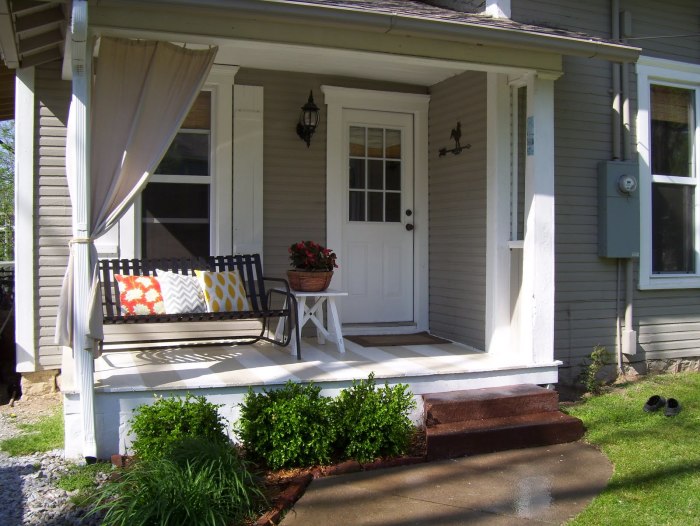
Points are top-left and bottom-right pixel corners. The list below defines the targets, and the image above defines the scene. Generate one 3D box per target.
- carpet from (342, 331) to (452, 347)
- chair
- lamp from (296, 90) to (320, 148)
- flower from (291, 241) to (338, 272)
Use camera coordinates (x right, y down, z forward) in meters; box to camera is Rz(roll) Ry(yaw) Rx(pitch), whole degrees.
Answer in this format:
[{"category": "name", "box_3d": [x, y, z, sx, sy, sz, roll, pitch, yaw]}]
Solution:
[{"category": "carpet", "box_3d": [0.515, 0.818, 6.447, 1.030, 0.073, 0.718, -2, 9, -13]}, {"category": "chair", "box_3d": [-1.521, 0.269, 5.517, 1.161, 0.396, 0.481, -4, 9, -23]}, {"category": "lamp", "box_3d": [-0.446, -1.514, 6.372, 0.236, 0.560, 0.236, -1, 8, -6]}, {"category": "flower", "box_3d": [-0.343, -0.061, 5.866, 0.332, 0.240, 0.328, 9, 0, -42]}]
